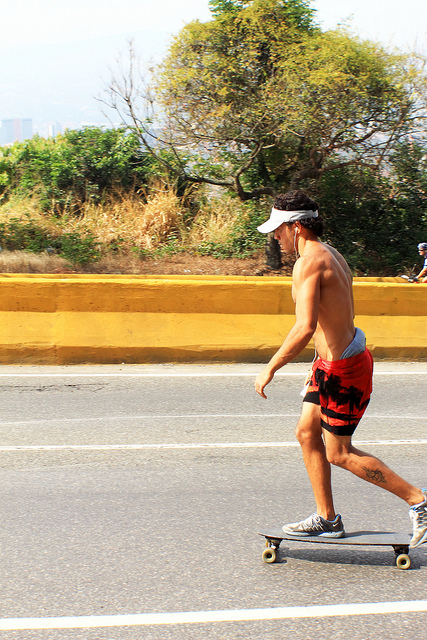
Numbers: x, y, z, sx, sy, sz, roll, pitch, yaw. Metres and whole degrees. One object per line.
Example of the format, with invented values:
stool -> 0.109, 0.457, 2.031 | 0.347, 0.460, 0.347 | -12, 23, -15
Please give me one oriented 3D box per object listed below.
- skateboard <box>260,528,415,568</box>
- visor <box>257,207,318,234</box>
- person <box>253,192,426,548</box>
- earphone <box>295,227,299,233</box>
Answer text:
skateboard -> 0.779, 1.227, 5.285 | 1.090, 0.128, 0.273 | 0, 6, 11
visor -> 0.438, -0.549, 5.369 | 0.288, 0.073, 0.160 | -7, 5, 1
person -> 0.730, 0.293, 5.420 | 0.964, 2.010, 0.916 | 1, 13, 1
earphone -> 0.483, -0.499, 5.325 | 0.009, 0.027, 0.010 | 22, -3, 14
